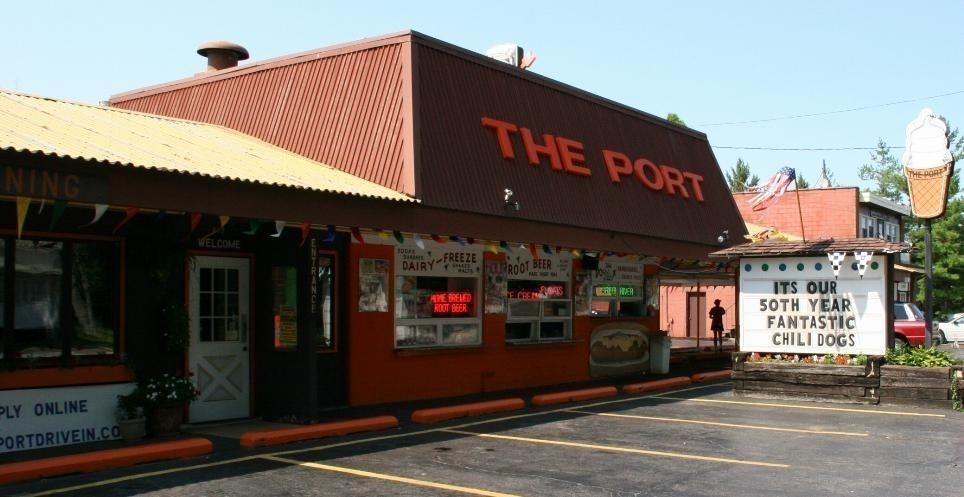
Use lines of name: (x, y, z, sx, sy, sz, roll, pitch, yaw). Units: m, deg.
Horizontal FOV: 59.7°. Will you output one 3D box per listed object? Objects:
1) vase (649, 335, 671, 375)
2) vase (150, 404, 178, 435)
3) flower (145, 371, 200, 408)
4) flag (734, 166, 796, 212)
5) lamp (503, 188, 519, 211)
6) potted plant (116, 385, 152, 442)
vase: (6.771, 4.015, 32.059, 0.719, 1.497, 0.527, 1, 7, -1)
vase: (-7.966, 4.302, 21.074, 0.892, 0.571, 0.796, 0, -10, -5)
flower: (-7.997, 3.539, 21.431, 1.059, 0.693, 1.163, -3, 5, 39)
flag: (9.586, -2.005, 27.875, 1.297, 1.417, 2.226, 2, 7, 11)
lamp: (0.866, -1.518, 25.612, 0.298, 0.661, 0.624, 6, 9, 37)
potted plant: (-8.702, 4.128, 20.875, 0.686, 1.240, 0.449, -2, 8, -21)
